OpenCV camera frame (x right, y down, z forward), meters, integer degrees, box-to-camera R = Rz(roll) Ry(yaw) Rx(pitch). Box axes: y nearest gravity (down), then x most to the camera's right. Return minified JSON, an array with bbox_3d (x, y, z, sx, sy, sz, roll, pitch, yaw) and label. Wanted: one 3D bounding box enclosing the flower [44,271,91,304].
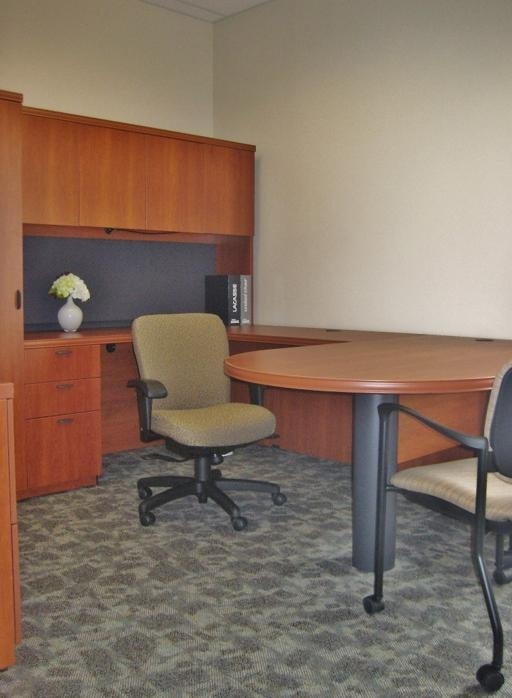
[{"bbox_3d":[-1.176,-0.393,3.564,0.217,0.096,0.219,-12,22,-41],"label":"flower"}]
